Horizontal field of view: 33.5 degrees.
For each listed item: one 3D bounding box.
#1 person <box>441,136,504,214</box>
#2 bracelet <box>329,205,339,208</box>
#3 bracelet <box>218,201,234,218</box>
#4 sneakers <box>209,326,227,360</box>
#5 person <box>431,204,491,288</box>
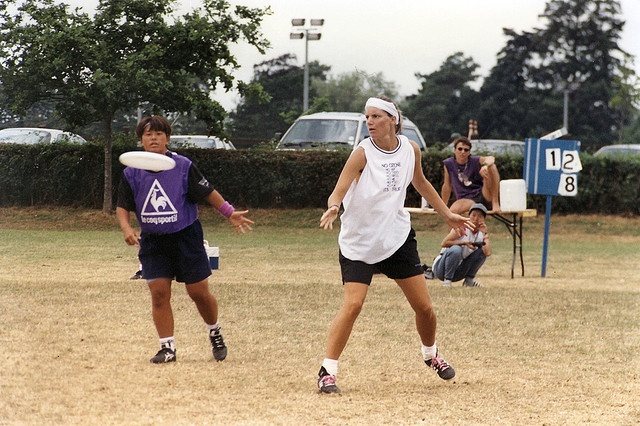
[{"bbox_3d":[3.074,-0.792,21.890,1.203,1.173,1.597,-6,-2,0],"label":"person"},{"bbox_3d":[0.213,-0.108,16.638,0.167,0.058,0.096,1,3,-16],"label":"bracelet"},{"bbox_3d":[-1.555,-0.065,17.634,0.222,0.221,0.264,13,-12,-15],"label":"bracelet"},{"bbox_3d":[-1.707,2.196,17.724,0.215,0.626,0.287,-15,-8,-6],"label":"sneakers"},{"bbox_3d":[2.868,0.619,21.285,1.048,1.704,1.116,11,2,-40],"label":"person"}]
